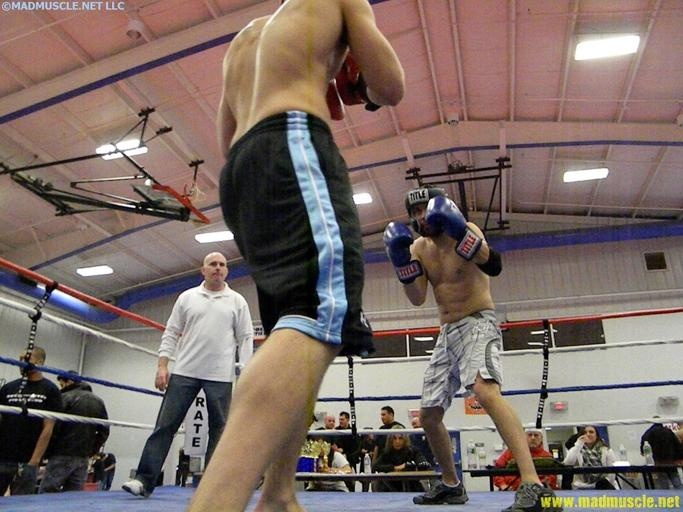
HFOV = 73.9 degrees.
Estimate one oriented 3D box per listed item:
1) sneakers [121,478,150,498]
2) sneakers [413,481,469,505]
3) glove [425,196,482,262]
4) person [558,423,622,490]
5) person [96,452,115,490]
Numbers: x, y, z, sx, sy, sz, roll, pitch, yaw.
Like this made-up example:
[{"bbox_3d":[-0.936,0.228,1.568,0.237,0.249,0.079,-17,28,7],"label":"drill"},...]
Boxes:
[{"bbox_3d":[-1.149,1.272,2.527,0.104,0.085,0.191,3,-32,14],"label":"sneakers"},{"bbox_3d":[0.552,1.294,2.497,0.311,0.127,0.114,4,-26,-3],"label":"sneakers"},{"bbox_3d":[0.638,-0.174,2.506,0.159,0.353,0.260,-25,-12,-34],"label":"glove"},{"bbox_3d":[3.439,2.806,6.246,0.661,0.926,0.607,-8,-35,26],"label":"person"},{"bbox_3d":[-4.811,4.384,9.266,0.336,0.834,0.297,1,-4,-23],"label":"person"}]
